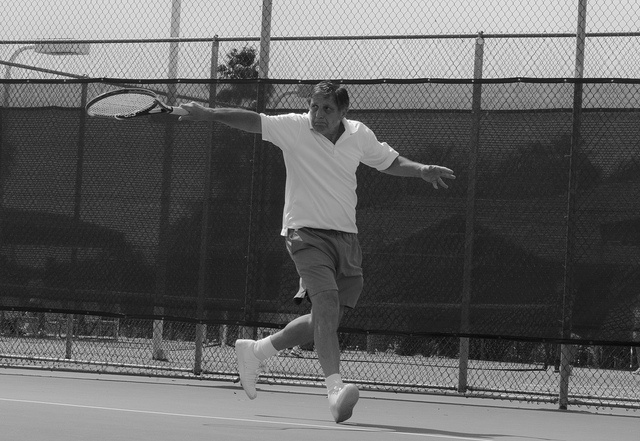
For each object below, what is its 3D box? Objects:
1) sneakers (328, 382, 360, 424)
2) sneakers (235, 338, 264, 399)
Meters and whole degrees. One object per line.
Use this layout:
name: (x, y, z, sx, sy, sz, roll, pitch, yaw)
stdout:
sneakers: (0.182, 1.226, 6.859, 0.125, 0.361, 0.159, 7, 30, -32)
sneakers: (-0.546, 1.112, 7.737, 0.201, 0.523, 0.151, -8, 0, 18)
